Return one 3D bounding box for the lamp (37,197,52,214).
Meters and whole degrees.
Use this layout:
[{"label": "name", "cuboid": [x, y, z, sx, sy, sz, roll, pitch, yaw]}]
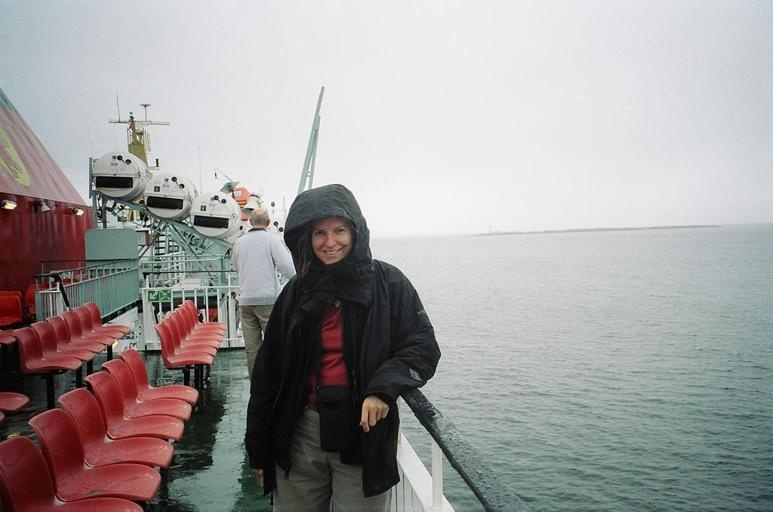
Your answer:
[{"label": "lamp", "cuboid": [-11.945, -1.749, 18.491, 0.215, 0.485, 0.709, -1, 7, -17]}]
